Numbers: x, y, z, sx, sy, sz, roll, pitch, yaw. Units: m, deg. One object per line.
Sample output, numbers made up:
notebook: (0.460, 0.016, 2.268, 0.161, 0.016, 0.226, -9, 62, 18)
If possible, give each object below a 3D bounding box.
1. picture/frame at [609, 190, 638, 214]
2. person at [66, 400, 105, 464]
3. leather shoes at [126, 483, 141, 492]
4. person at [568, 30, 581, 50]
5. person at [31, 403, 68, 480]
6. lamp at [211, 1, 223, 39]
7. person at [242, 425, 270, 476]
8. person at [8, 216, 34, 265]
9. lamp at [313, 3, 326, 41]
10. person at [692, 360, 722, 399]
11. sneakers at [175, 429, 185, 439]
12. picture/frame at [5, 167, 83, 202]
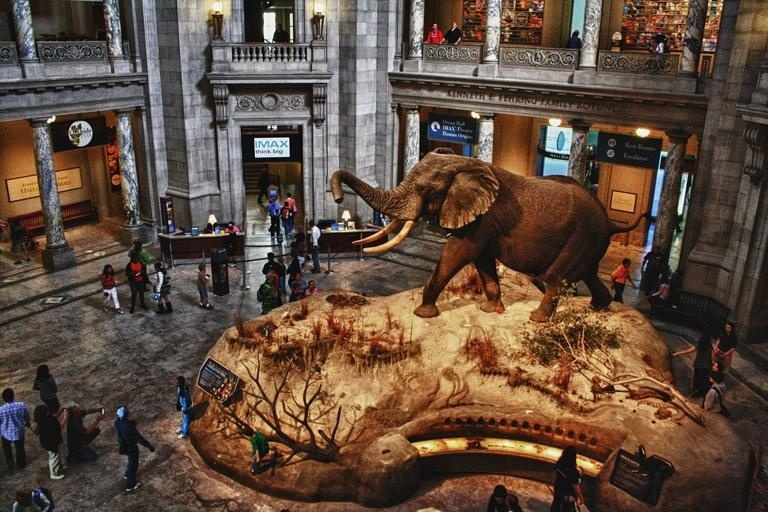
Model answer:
picture/frame: (12.131, -2.739, 24.244, 1.130, 0.970, 0.119, 10, 12, 36)
person: (-7.268, 4.255, 11.716, 0.929, 1.303, 0.710, -2, 7, -31)
leather shoes: (-5.732, 5.274, 10.968, 0.261, 0.176, 0.089, -13, 31, -37)
person: (8.392, -9.443, 21.100, 0.490, 0.787, 1.164, 5, 19, 16)
person: (-7.819, 4.260, 11.269, 0.499, 1.759, 0.917, -17, 24, -39)
lamp: (-7.418, -10.401, 21.425, 0.579, 1.560, 0.648, -7, 20, -18)
person: (-2.729, 4.237, 10.570, 0.473, 1.017, 0.347, -13, 22, -32)
person: (-16.299, -0.646, 21.502, 0.780, 1.681, 1.238, -12, 22, -31)
lamp: (-3.069, -10.833, 22.334, 0.611, 1.676, 0.596, -1, 19, 0)
person: (8.431, 3.242, 12.531, 0.608, 1.027, 0.696, 11, 24, 25)
sneakers: (-5.289, 4.569, 12.449, 0.126, 0.160, 0.352, 9, 13, -43)
picture/frame: (-16.475, -3.395, 23.017, 0.051, 0.809, 2.403, 12, 21, 38)
